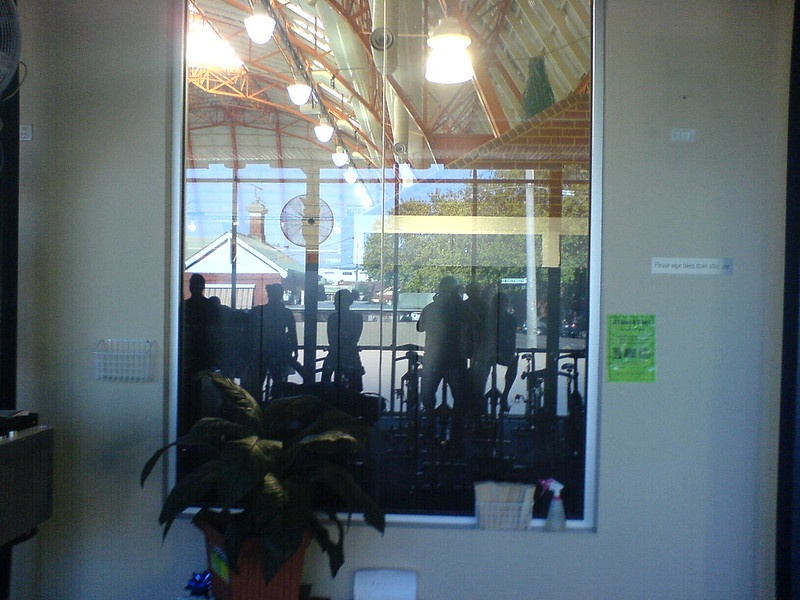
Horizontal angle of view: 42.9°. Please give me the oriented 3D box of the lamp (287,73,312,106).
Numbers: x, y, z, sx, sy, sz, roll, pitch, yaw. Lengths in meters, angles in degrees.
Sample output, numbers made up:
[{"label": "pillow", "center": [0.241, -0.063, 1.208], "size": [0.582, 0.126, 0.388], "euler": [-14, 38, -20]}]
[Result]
[{"label": "lamp", "center": [-0.485, -1.005, 4.915], "size": [0.103, 0.093, 0.115], "euler": [-1, 3, -5]}]

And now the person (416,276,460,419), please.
[{"label": "person", "center": [0.217, 0.238, 5.127], "size": [0.233, 0.832, 0.234], "euler": [2, 27, 1]}]

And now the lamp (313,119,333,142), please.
[{"label": "lamp", "center": [-0.375, -0.822, 4.962], "size": [0.093, 0.081, 0.092], "euler": [-9, 12, -43]}]

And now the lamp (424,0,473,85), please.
[{"label": "lamp", "center": [0.236, -1.217, 4.908], "size": [0.271, 0.461, 0.285], "euler": [-1, -1, -10]}]

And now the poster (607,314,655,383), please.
[{"label": "poster", "center": [1.134, 0.236, 4.949], "size": [0.256, 0.440, 0.043], "euler": [-1, 1, 3]}]
